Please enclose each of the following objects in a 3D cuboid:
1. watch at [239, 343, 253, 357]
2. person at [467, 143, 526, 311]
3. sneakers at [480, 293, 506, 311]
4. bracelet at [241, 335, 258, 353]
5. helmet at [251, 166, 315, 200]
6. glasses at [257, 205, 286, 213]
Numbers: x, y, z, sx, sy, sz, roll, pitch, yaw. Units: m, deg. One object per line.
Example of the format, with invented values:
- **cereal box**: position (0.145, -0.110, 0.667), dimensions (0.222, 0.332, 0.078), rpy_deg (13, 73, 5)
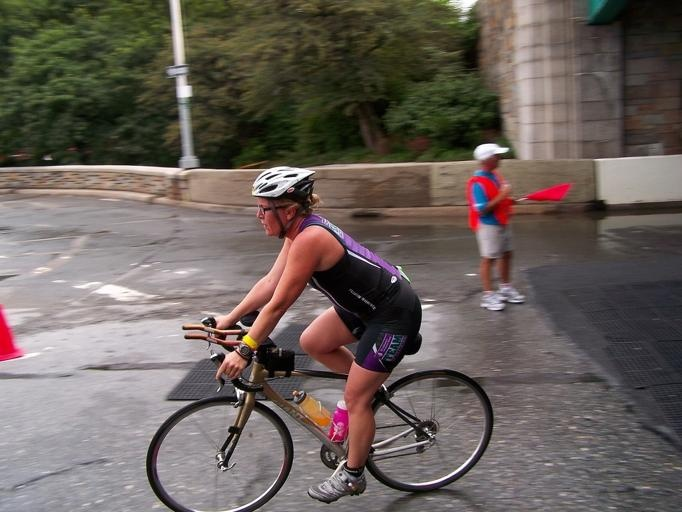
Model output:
- **watch**: position (-0.539, 0.530, 3.376), dimensions (0.089, 0.033, 0.081), rpy_deg (19, -16, -4)
- **person**: position (1.749, -0.339, 6.965), dimensions (0.553, 1.908, 0.740), rpy_deg (-10, 15, 15)
- **sneakers**: position (1.755, 0.514, 6.991), dimensions (0.268, 0.187, 0.280), rpy_deg (-6, 11, 11)
- **bracelet**: position (-0.517, 0.496, 3.407), dimensions (0.083, 0.066, 0.098), rpy_deg (-19, 28, -27)
- **helmet**: position (-0.315, -0.423, 3.477), dimensions (0.377, 0.092, 0.206), rpy_deg (0, 15, -12)
- **glasses**: position (-0.414, -0.275, 3.493), dimensions (0.176, 0.041, 0.064), rpy_deg (2, 14, 38)
